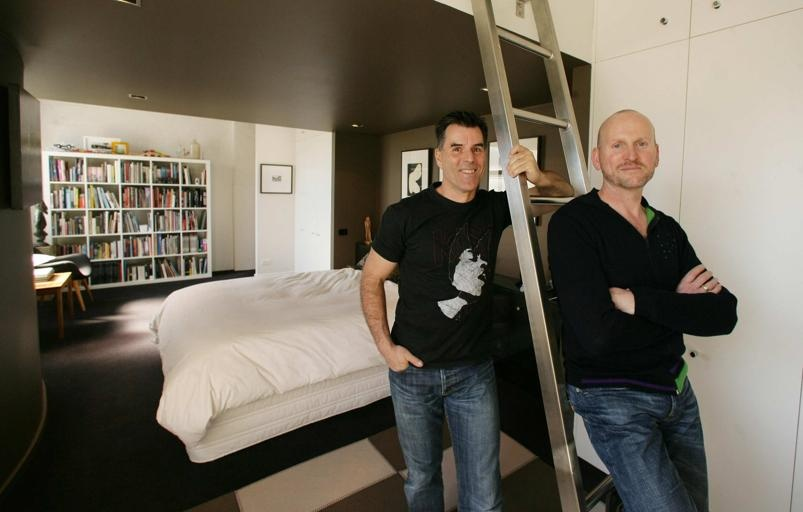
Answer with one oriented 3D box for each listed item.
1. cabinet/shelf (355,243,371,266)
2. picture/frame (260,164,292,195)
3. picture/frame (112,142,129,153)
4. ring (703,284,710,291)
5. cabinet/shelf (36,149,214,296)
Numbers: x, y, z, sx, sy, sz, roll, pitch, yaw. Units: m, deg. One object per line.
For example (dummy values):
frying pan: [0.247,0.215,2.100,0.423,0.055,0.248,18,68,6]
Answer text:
cabinet/shelf: [-0.479,-0.030,6.286,0.129,0.298,0.298,2,3,-9]
picture/frame: [-2.234,-1.340,8.907,0.504,0.438,0.049,-8,14,-41]
picture/frame: [-4.342,-1.647,7.770,0.019,0.144,0.196,1,1,44]
ring: [1.717,0.180,2.837,0.034,0.035,0.008,5,-2,32]
cabinet/shelf: [-4.234,-0.475,8.165,2.179,2.081,0.592,-2,-9,-28]
